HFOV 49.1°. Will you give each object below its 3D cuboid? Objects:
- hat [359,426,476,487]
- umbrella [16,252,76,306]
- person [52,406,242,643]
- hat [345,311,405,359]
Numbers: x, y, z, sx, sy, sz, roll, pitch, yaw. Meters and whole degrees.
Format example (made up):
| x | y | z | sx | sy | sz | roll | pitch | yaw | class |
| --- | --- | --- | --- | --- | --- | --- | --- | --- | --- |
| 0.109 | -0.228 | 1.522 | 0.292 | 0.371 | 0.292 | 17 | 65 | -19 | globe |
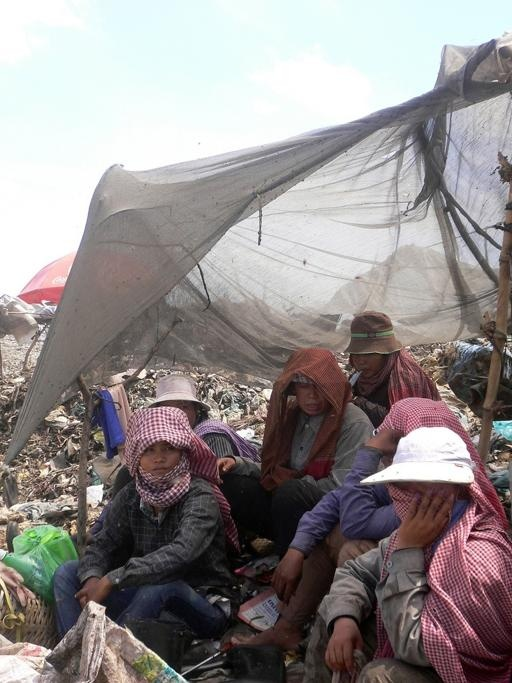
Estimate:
| x | y | z | sx | sy | sz | roll | pitch | yaw | class |
| --- | --- | --- | --- | --- | --- | --- | --- | --- | --- |
| 0.502 | 0.346 | 1.699 | 0.276 | 0.102 | 0.197 | 2 | -16 | -2 | hat |
| -4.831 | -1.514 | 13.151 | 0.908 | 1.234 | 1.433 | 6 | -1 | -37 | umbrella |
| -0.426 | 0.865 | 2.695 | 0.700 | 1.099 | 0.752 | 5 | 0 | 45 | person |
| 0.823 | -0.058 | 3.893 | 0.346 | 0.189 | 0.330 | -6 | 0 | -15 | hat |
